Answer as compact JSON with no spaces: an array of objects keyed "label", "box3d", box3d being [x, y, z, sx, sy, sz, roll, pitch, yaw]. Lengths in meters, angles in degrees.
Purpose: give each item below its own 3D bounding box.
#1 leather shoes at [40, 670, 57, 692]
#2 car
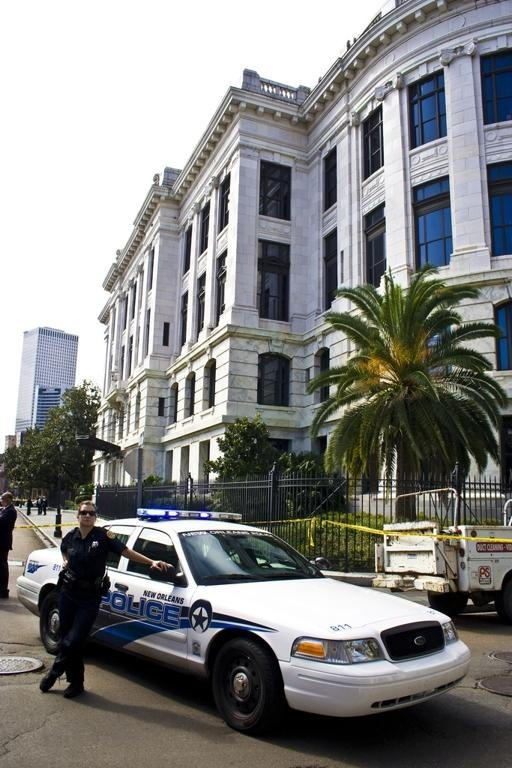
[{"label":"leather shoes","box3d":[-1.573,2.288,5.044,0.098,0.137,0.193,4,-12,-28]},{"label":"car","box3d":[-0.282,1.576,5.459,1.466,1.203,3.750,12,-15,-39]}]
